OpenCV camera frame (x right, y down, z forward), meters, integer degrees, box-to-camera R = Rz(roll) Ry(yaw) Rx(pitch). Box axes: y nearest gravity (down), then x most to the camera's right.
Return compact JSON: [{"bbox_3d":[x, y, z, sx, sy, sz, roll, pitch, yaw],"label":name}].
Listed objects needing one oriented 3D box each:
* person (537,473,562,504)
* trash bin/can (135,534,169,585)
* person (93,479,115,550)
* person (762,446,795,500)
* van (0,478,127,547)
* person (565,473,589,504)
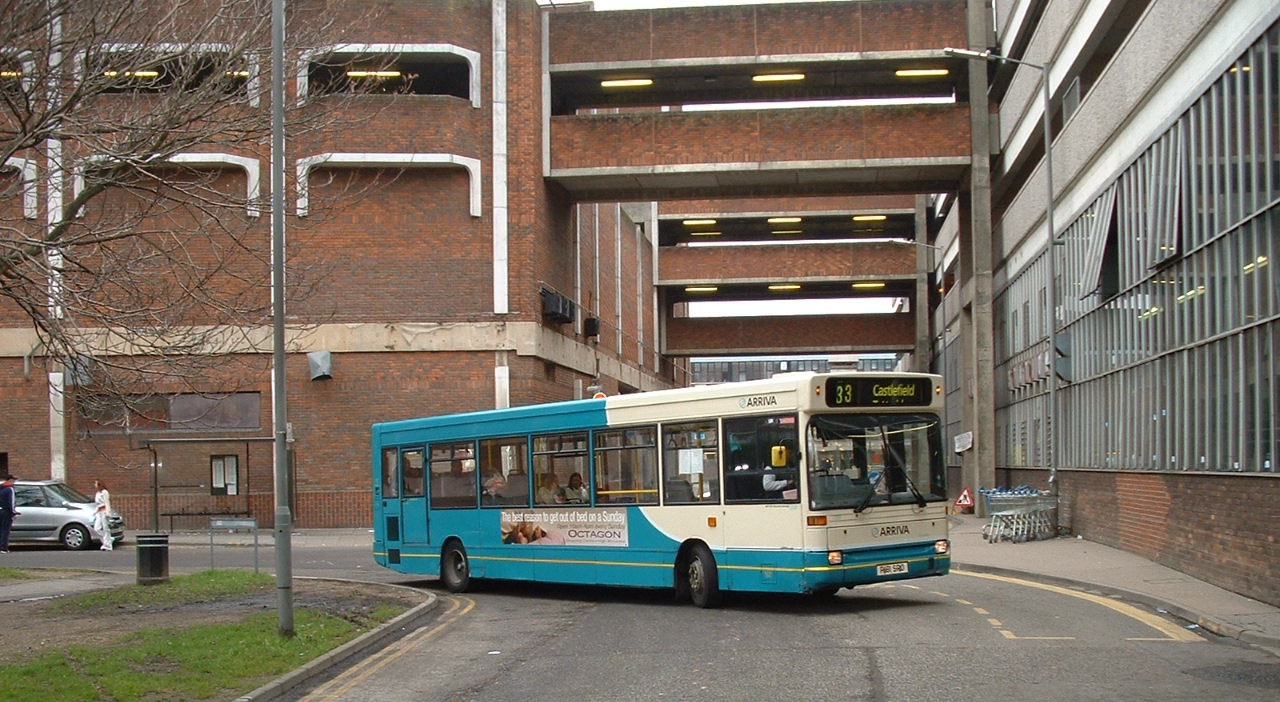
[{"bbox_3d":[-2.346,3.505,35.355,0.563,0.725,0.266,-3,-2,36],"label":"person"},{"bbox_3d":[-13.118,5.568,37.367,0.776,1.179,0.748,-2,6,-13],"label":"trash bin/can"},{"bbox_3d":[-18.450,5.685,47.776,0.570,2.377,1.250,-3,6,-20],"label":"person"},{"bbox_3d":[3.147,2.800,32.326,0.712,1.091,0.653,-7,5,3],"label":"person"},{"bbox_3d":[-20.042,5.676,48.500,3.829,1.716,1.890,-1,-5,-2],"label":"van"},{"bbox_3d":[-1.612,3.476,35.114,0.657,0.832,0.722,-1,-9,-1],"label":"person"}]
